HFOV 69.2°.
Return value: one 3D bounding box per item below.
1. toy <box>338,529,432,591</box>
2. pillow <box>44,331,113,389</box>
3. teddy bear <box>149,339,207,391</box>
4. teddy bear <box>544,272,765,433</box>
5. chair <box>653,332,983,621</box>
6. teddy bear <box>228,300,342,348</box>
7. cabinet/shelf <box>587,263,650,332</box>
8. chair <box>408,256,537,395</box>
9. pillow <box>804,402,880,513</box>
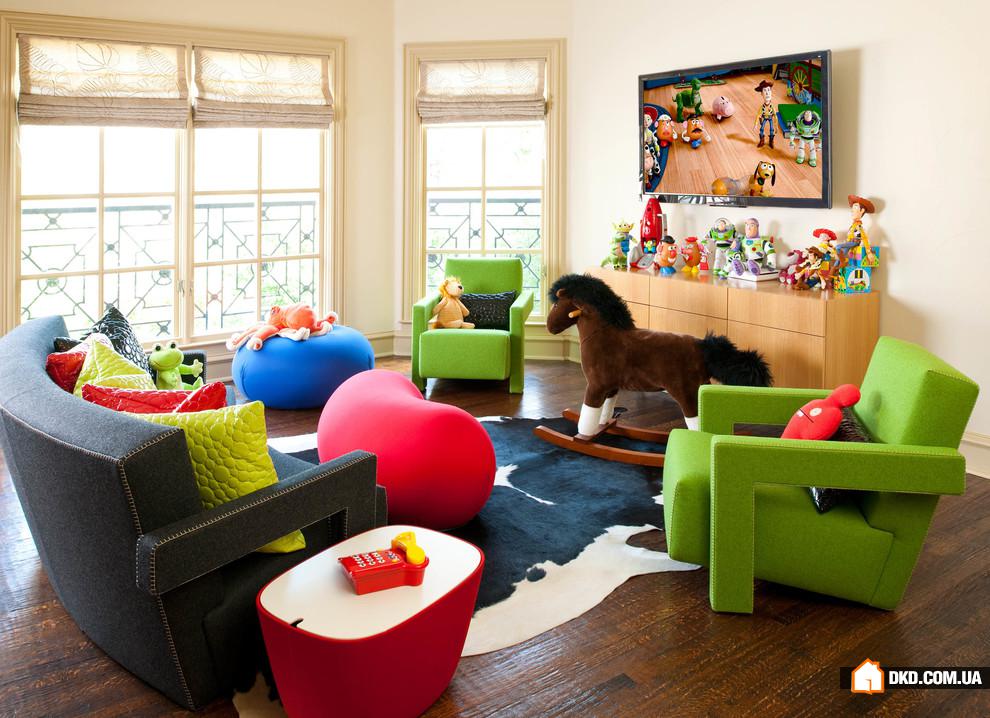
[{"bbox_3d":[-0.348,0.638,2.278,0.186,0.094,0.173,-2,9,-19],"label":"toy"},{"bbox_3d":[-1.722,0.002,2.971,0.239,0.114,0.249,21,40,-7],"label":"pillow"},{"bbox_3d":[-1.672,0.037,3.789,0.213,0.278,0.229,-3,4,25],"label":"teddy bear"},{"bbox_3d":[0.923,-0.009,4.262,1.285,0.917,0.433,8,17,26],"label":"teddy bear"},{"bbox_3d":[1.154,0.380,3.067,1.129,1.064,1.036,1,4,5],"label":"chair"},{"bbox_3d":[-1.470,-0.234,4.916,0.441,0.153,0.447,-13,1,-6],"label":"teddy bear"},{"bbox_3d":[0.993,-0.408,5.504,0.234,0.660,0.709,10,6,7],"label":"cabinet/shelf"},{"bbox_3d":[-0.169,-0.289,5.504,0.853,0.921,0.692,1,14,8],"label":"chair"},{"bbox_3d":[1.459,0.384,2.926,0.316,0.319,0.321,-1,-6,-33],"label":"pillow"}]
